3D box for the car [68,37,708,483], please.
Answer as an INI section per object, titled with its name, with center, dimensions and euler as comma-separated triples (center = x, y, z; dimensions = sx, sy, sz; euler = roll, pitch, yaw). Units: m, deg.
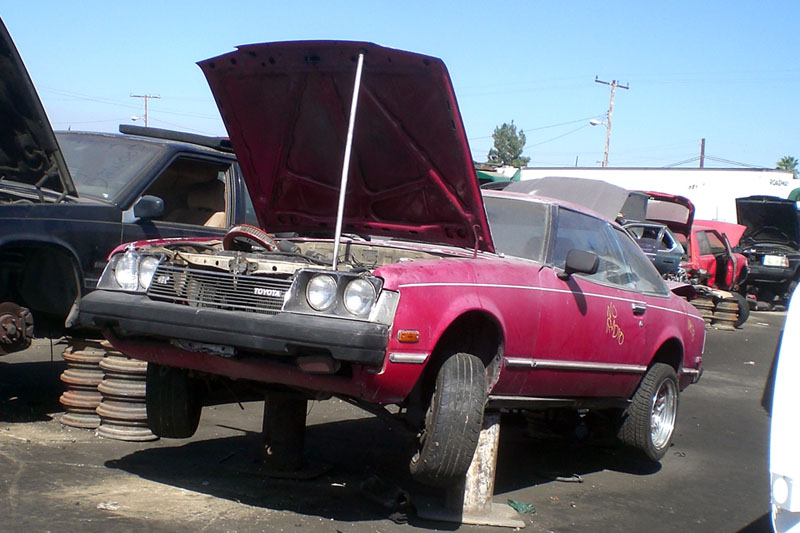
[car]
center = 0.467, 0.060, 5.778
dimensions = 3.075, 2.595, 5.072
euler = -1, -9, 39
